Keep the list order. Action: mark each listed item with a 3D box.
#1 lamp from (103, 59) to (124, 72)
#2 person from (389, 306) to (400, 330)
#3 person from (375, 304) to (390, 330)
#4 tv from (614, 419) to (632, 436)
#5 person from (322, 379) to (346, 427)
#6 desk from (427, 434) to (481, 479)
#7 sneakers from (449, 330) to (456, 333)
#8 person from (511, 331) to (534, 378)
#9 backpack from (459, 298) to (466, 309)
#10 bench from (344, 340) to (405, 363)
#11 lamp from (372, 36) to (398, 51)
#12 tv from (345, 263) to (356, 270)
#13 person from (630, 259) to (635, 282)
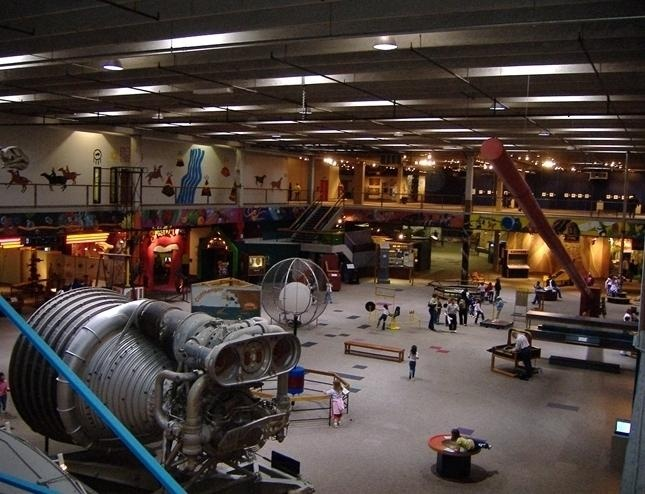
[{"bbox_3d":[-5.602,-4.868,13.777,0.544,0.260,0.291,4,7,14],"label":"lamp"},{"bbox_3d":[3.485,3.219,24.498,0.552,1.018,2.096,3,7,9],"label":"person"},{"bbox_3d":[2.901,3.117,24.241,0.615,1.225,2.670,3,7,8],"label":"person"},{"bbox_3d":[7.026,4.191,12.012,0.284,0.399,0.669,6,8,30],"label":"tv"},{"bbox_3d":[0.405,4.169,14.260,0.546,1.176,1.276,2,7,3],"label":"person"},{"bbox_3d":[3.035,4.797,11.768,1.186,0.673,1.107,0,2,-7],"label":"desk"},{"bbox_3d":[6.009,3.880,23.550,0.290,0.085,0.222,2,7,-2],"label":"sneakers"},{"bbox_3d":[7.114,3.834,18.066,0.734,1.496,0.824,5,8,21],"label":"person"},{"bbox_3d":[6.826,2.785,24.808,0.329,0.416,0.448,7,-6,12],"label":"backpack"},{"bbox_3d":[2.063,3.948,19.899,2.380,0.575,1.286,4,7,19],"label":"bench"},{"bbox_3d":[1.343,-4.073,10.381,0.447,0.178,0.437,-6,10,-42],"label":"lamp"},{"bbox_3d":[1.914,1.365,35.180,0.938,0.135,1.325,5,17,2],"label":"tv"},{"bbox_3d":[23.366,1.730,38.651,0.348,1.526,0.957,7,9,36],"label":"person"}]
